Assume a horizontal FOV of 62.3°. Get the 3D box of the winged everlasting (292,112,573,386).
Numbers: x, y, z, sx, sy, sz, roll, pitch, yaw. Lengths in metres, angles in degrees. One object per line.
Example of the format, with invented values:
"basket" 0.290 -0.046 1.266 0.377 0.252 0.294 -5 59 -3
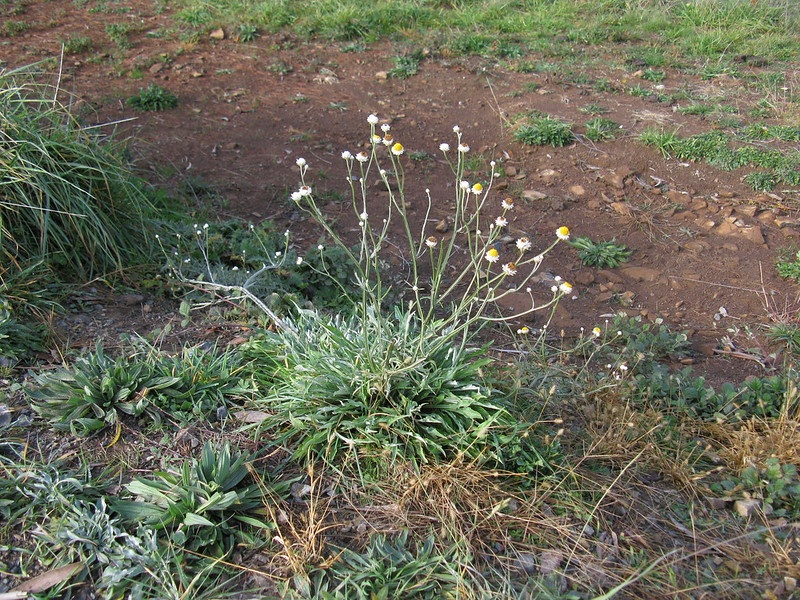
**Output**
"winged everlasting" 0.338 -0.452 6.055 2.089 1.605 2.199 -3 42 -34
